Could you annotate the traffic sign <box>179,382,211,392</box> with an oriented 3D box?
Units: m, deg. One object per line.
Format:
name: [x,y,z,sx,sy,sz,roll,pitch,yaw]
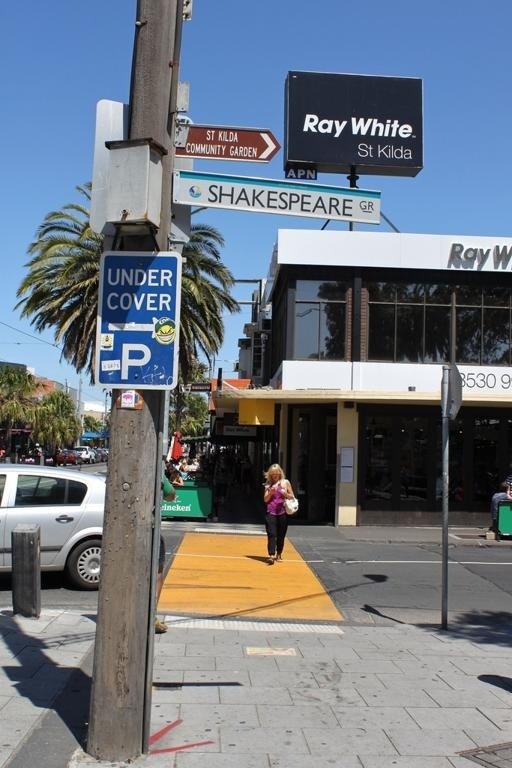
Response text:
traffic sign: [-2.199,0.128,25.102,0.951,0.373,1.538,3,-3,-11]

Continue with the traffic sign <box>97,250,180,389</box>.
traffic sign: [-0.609,-0.320,3.458,0.439,0.843,0.069,1,-23,-7]

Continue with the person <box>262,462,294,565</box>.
person: [0.412,2.396,12.426,0.494,1.791,0.959,2,-3,2]

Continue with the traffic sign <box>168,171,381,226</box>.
traffic sign: [0.135,-1.098,3.977,1.275,0.234,0.176,3,-3,-13]
